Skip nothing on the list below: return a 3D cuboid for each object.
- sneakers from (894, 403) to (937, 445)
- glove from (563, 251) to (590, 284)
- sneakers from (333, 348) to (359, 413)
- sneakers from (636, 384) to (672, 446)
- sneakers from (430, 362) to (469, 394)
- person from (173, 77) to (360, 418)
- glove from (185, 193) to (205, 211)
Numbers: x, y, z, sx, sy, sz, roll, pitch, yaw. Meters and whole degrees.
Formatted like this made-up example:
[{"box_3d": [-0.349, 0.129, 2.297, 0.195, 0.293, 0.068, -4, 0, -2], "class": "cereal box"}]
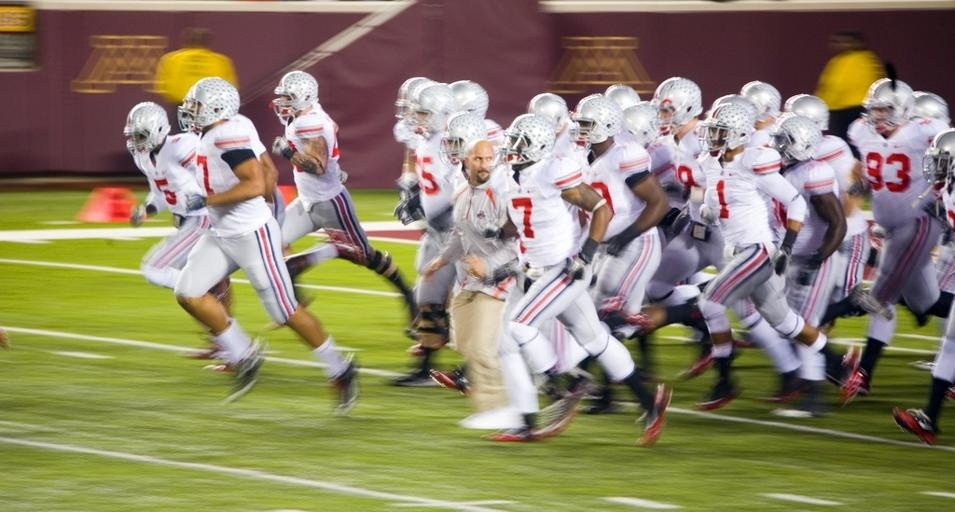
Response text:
[{"box_3d": [3.045, 1.181, 6.499, 0.277, 0.243, 0.193, 4, 8, 21], "class": "sneakers"}, {"box_3d": [0.680, 0.082, 6.276, 0.097, 0.119, 0.207, 15, 52, 41], "class": "glove"}, {"box_3d": [-0.970, 0.933, 6.881, 0.163, 0.421, 0.222, 3, -6, 45], "class": "sneakers"}, {"box_3d": [1.224, 1.088, 6.433, 0.275, 0.398, 0.137, -4, 9, -40], "class": "sneakers"}, {"box_3d": [-0.204, 0.956, 7.070, 0.282, 0.219, 0.473, 1, 7, 0], "class": "sneakers"}, {"box_3d": [-1.596, -0.121, 6.946, 1.277, 2.380, 0.622, 2, 7, 5], "class": "person"}, {"box_3d": [-2.010, -0.386, 6.693, 0.115, 0.100, 0.101, -1, 7, -16], "class": "glove"}]
